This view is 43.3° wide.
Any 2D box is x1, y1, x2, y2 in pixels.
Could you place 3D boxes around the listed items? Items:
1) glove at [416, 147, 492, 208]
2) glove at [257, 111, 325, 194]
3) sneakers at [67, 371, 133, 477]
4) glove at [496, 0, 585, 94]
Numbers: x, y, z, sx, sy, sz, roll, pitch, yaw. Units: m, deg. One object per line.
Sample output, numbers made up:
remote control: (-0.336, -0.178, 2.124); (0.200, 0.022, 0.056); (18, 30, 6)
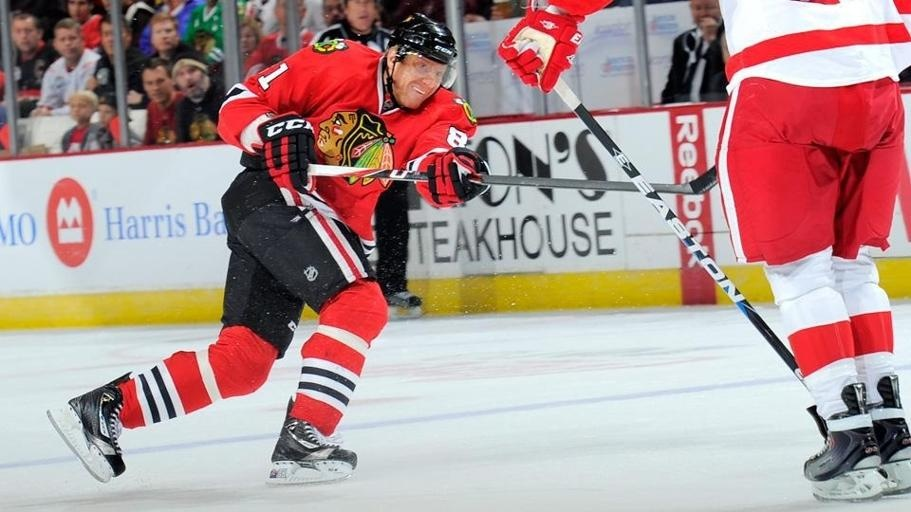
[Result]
glove: (0.016, -0.361, 5.324); (0.422, 0.194, 0.503); (-4, -1, -5)
glove: (-0.751, -0.453, 5.124); (0.243, 0.342, 0.157); (-6, 15, -8)
sneakers: (-1.547, 0.774, 5.070); (0.306, 0.423, 0.211); (-9, 16, -20)
glove: (0.441, -0.972, 5.402); (0.340, 0.415, 0.185); (42, 21, 11)
